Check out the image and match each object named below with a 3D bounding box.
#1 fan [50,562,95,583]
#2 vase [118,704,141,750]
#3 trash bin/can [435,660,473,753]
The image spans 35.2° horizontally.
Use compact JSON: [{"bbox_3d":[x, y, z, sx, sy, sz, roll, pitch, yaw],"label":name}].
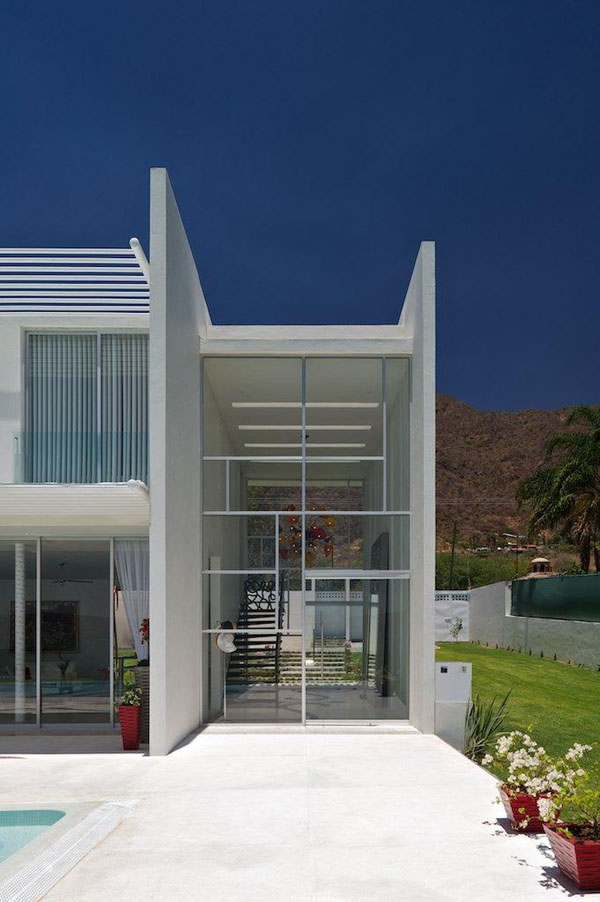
[{"bbox_3d":[-3.388,1.831,14.038,0.356,0.336,0.089,0,-11,8],"label":"fan"},{"bbox_3d":[-2.261,3.631,12.402,0.278,0.548,0.284,-3,-5,1],"label":"vase"},{"bbox_3d":[2.154,3.557,13.363,0.398,1.289,0.550,4,-6,-9],"label":"trash bin/can"}]
